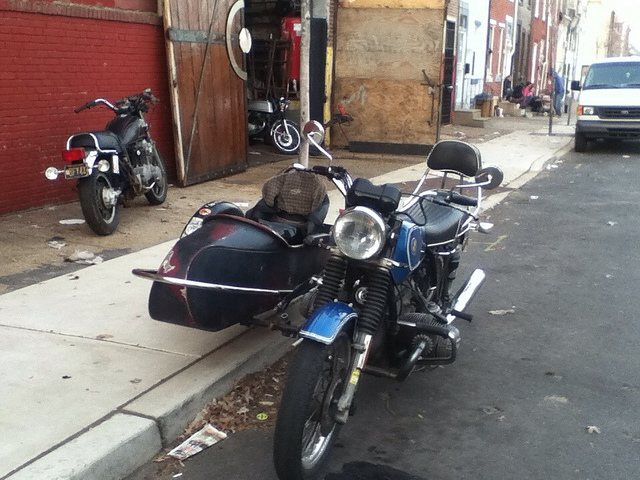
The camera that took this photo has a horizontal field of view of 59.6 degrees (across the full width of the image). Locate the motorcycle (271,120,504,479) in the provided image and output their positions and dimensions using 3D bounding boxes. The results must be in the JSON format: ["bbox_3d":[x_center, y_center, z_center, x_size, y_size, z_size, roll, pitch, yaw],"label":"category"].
[{"bbox_3d":[0.597,0.201,4.059,1.190,1.877,2.933,12,26,28],"label":"motorcycle"}]

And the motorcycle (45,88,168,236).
[{"bbox_3d":[-2.614,-1.021,7.139,0.486,1.634,1.786,2,19,9],"label":"motorcycle"}]

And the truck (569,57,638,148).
[{"bbox_3d":[7.914,-3.752,15.401,1.595,1.649,3.218,4,17,30],"label":"truck"}]

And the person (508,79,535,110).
[{"bbox_3d":[10.266,-7.389,28.174,1.008,1.624,1.132,18,21,23],"label":"person"}]

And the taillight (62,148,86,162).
[{"bbox_3d":[-2.827,-0.978,6.370,0.160,0.087,0.179,-12,11,-9],"label":"taillight"}]
